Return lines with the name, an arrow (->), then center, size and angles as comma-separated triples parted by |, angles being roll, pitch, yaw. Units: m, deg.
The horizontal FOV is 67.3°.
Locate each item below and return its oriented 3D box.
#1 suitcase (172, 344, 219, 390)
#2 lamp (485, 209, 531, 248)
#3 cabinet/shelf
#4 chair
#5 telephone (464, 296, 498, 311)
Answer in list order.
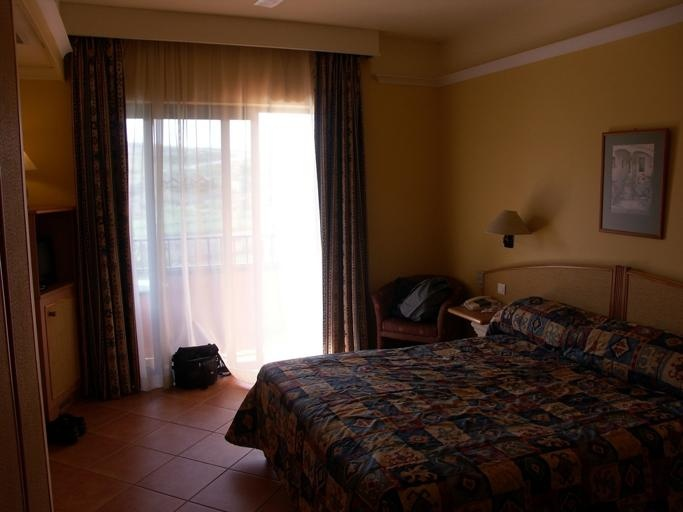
suitcase -> -1.465, 1.093, 5.240 | 0.384, 0.415, 0.406 | -2, 4, -5
lamp -> 1.532, -0.251, 4.758 | 0.347, 0.309, 0.349 | -4, 8, -25
cabinet/shelf -> -2.517, 0.471, 4.619 | 0.417, 1.821, 0.826 | -8, 14, -26
chair -> 0.805, 0.603, 5.519 | 0.888, 0.952, 0.792 | 1, 0, 33
telephone -> 1.375, 0.473, 5.026 | 0.208, 0.066, 0.156 | -6, 13, -16
